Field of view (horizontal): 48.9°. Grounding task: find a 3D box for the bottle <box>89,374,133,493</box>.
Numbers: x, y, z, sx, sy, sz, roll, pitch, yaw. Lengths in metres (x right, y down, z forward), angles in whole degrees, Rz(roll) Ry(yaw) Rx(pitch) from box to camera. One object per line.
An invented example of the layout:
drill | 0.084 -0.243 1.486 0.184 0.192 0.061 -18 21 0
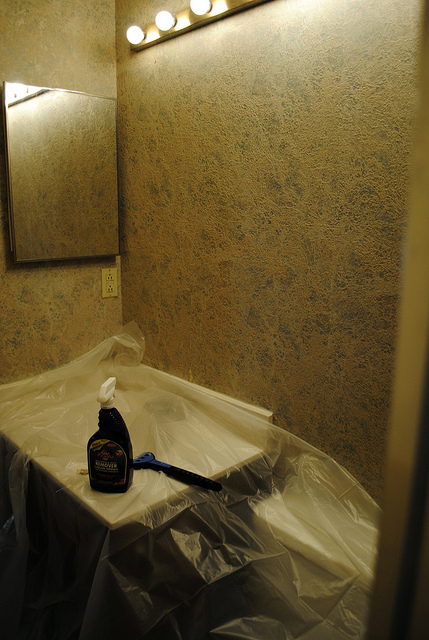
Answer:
bottle | -0.203 0.229 0.932 0.087 0.216 0.076 2 11 6

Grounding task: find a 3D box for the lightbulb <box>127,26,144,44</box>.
lightbulb | -0.227 -0.826 1.370 0.042 0.046 0.041 7 32 10

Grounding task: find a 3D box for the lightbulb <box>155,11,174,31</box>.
lightbulb | -0.137 -0.816 1.292 0.041 0.042 0.061 -5 13 -27

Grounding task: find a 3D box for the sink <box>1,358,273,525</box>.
sink | -0.177 0.291 1.180 0.320 0.098 0.478 -9 17 -36
